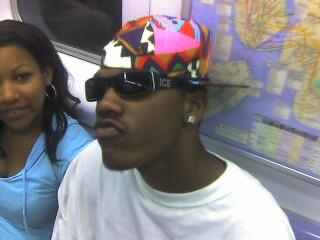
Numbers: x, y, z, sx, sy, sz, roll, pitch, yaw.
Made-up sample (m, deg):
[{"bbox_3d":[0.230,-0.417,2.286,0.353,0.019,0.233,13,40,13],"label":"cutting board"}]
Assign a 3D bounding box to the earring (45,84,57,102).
[{"bbox_3d":[-0.576,-0.137,1.444,0.058,0.091,0.044,-5,26,-20],"label":"earring"}]
